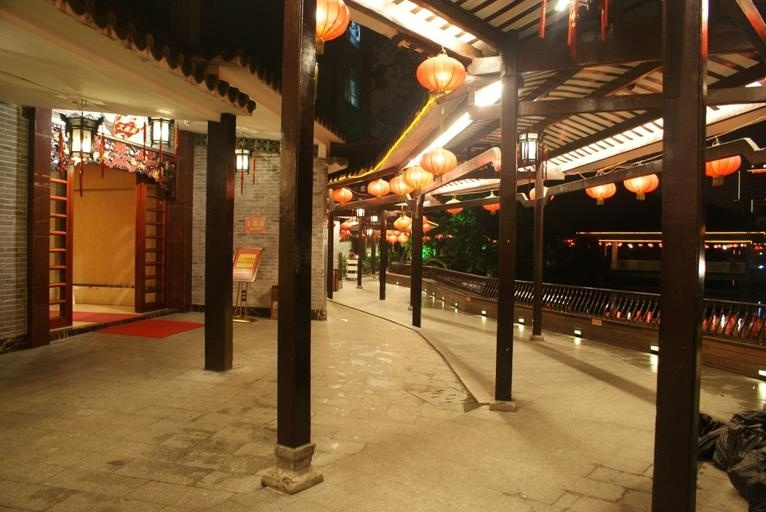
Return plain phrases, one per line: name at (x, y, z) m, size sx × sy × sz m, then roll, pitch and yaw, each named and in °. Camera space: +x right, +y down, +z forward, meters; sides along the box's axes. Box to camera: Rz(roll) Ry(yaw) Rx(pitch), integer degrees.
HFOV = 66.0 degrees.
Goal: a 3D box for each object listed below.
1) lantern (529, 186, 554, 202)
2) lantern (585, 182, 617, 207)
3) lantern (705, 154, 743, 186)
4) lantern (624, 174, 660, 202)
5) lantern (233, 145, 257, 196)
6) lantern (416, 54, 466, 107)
lantern at (3.553, -1.361, 13.173) m, size 0.494 × 0.412 × 0.552 m, roll 3°, pitch 0°, yaw 3°
lantern at (4.658, -1.310, 12.629) m, size 0.502 × 0.483 × 1.243 m, roll 6°, pitch 11°, yaw 27°
lantern at (5.973, -1.489, 10.378) m, size 0.480 × 0.532 × 0.940 m, roll 7°, pitch 11°, yaw 29°
lantern at (5.230, -1.385, 11.863) m, size 0.611 × 0.505 × 0.542 m, roll 0°, pitch 10°, yaw -11°
lantern at (-3.202, -1.952, 13.904) m, size 0.477 × 1.150 × 1.942 m, roll -1°, pitch 10°, yaw -13°
lantern at (0.908, -2.798, 9.459) m, size 0.631 × 0.737 × 0.656 m, roll 2°, pitch 9°, yaw 4°
